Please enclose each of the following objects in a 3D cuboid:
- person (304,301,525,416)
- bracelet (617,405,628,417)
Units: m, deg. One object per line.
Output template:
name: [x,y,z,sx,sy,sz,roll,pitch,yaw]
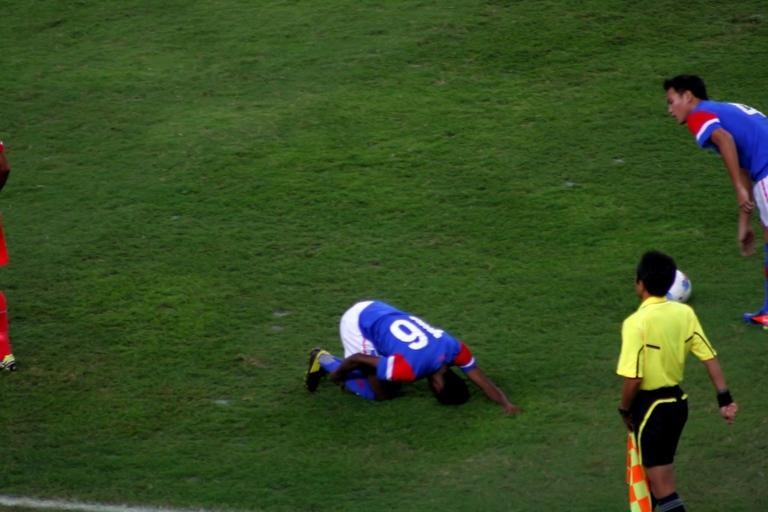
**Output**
person: [0.200,0.922,12.197,1.834,0.642,0.898,14,24,37]
bracelet: [1.859,1.199,11.140,0.117,0.068,0.069,-13,27,0]
